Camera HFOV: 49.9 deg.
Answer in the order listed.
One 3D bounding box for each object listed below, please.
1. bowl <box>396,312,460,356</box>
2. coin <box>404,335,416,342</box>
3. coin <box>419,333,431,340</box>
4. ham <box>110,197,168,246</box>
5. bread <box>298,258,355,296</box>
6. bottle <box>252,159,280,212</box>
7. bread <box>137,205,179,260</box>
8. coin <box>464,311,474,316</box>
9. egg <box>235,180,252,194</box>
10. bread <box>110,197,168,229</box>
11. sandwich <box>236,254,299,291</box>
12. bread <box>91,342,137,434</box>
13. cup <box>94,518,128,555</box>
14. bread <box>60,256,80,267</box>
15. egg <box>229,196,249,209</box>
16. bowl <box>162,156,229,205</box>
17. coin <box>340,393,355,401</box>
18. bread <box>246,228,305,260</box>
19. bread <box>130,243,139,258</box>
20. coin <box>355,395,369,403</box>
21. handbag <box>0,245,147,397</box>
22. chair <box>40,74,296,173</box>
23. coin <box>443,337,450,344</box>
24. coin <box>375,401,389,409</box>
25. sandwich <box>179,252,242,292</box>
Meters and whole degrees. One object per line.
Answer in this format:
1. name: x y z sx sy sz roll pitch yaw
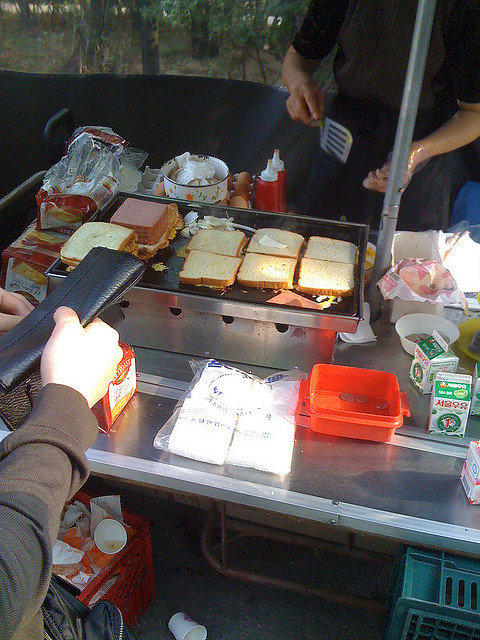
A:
1. bowl: 0.578 0.055 1.622 0.179 0.117 0.124 20 29 27
2. coin: 0.544 0.058 1.646 0.032 0.011 0.026 20 29 28
3. coin: 0.586 0.051 1.652 0.020 0.005 0.019 -10 36 8
4. ham: -0.326 -0.333 1.737 0.169 0.102 0.166 10 50 5
5. bread: 0.268 -0.132 1.598 0.171 0.059 0.199 8 26 6
6. bottle: 0.116 -0.553 2.136 0.114 0.198 0.078 12 27 12
7. bread: -0.249 -0.287 1.790 0.188 0.197 0.179 0 33 -5
8. coin: 0.811 -0.023 1.817 0.031 0.008 0.028 8 18 -1
9. egg: 0.015 -0.583 2.239 0.066 0.064 0.062 10 30 20
10. bread: -0.338 -0.360 1.735 0.139 0.032 0.137 11 45 11
11. sandwich: 0.090 -0.155 1.631 0.186 0.061 0.211 7 25 4
12. bread: -0.306 0.169 1.243 0.076 0.210 0.152 21 56 5
13. cup: -0.397 0.665 1.585 0.096 0.094 0.059 17 -8 4
14. bread: -0.519 -0.176 1.582 0.055 0.014 0.059 25 9 33
15. egg: -0.006 -0.476 2.098 0.075 0.042 0.108 5 25 -1
16. bowl: -0.186 -0.583 2.096 0.246 0.105 0.229 -1 39 1
17. coin: 0.294 0.212 1.410 0.040 0.006 0.028 -3 27 -18
18. bread: 0.131 -0.263 1.759 0.225 0.106 0.180 10 26 24
19. bread: -0.339 -0.226 1.679 0.021 0.062 0.045 6 -14 -6
20. coin: 0.333 0.216 1.411 0.038 0.007 0.035 -14 32 -36
21. handbag: -0.308 0.033 1.095 0.206 0.053 0.369 4 46 43
22. chair: -0.620 -1.660 4.366 2.027 0.654 1.352 3 -3 1
23. coin: 0.629 0.064 1.573 0.017 0.015 0.004 -10 -23 44
24. coin: 0.379 0.229 1.380 0.030 0.010 0.027 8 26 5
25. sandwich: -0.094 -0.154 1.620 0.175 0.050 0.199 8 25 4
